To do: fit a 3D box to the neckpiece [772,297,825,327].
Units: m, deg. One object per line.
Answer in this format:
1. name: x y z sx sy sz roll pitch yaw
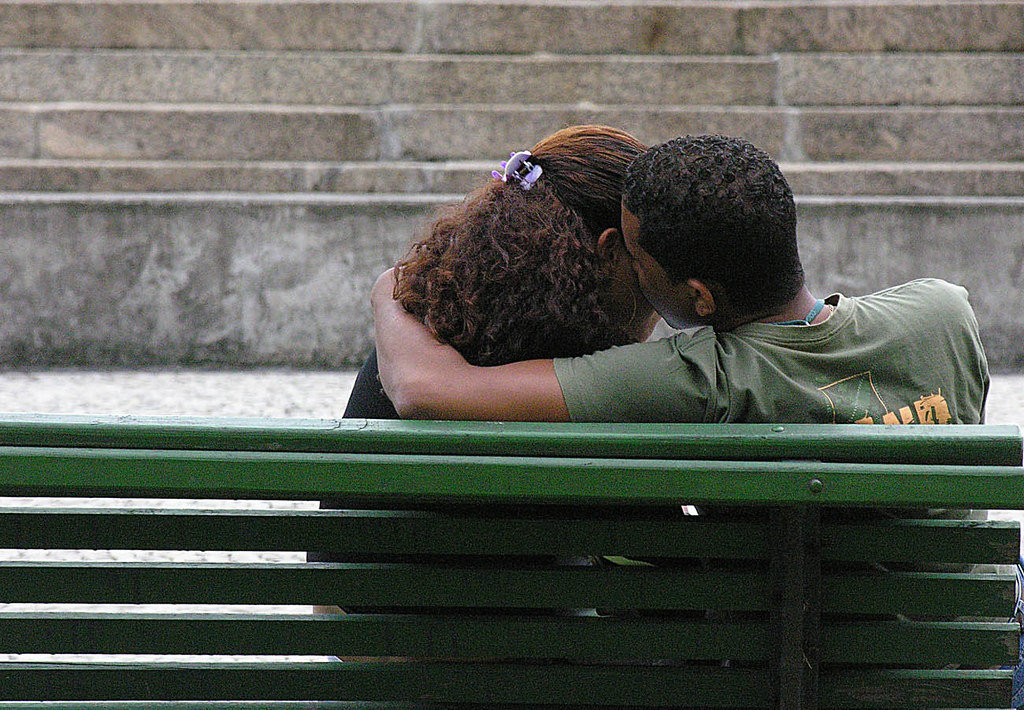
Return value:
1. neckpiece: 1.682 -0.259 16.783 0.248 0.052 0.172 -12 -7 -20
